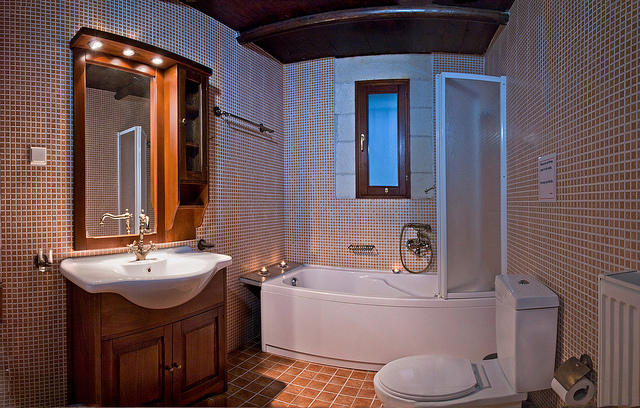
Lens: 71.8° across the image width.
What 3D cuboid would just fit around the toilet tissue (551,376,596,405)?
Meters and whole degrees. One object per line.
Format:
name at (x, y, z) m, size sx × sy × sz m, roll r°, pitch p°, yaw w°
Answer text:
toilet tissue at (1.652, 1.191, 2.919) m, size 0.184 × 0.194 × 0.232 m, roll -4°, pitch -3°, yaw 4°

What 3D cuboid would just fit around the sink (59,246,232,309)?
sink at (-1.345, 0.471, 3.587) m, size 1.224 × 0.382 × 0.946 m, roll 12°, pitch 1°, yaw -7°

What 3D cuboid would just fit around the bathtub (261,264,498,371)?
bathtub at (0.598, 1.067, 4.346) m, size 2.103 × 0.698 × 0.998 m, roll -2°, pitch 1°, yaw 22°

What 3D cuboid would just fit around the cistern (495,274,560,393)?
cistern at (1.479, 0.914, 3.175) m, size 0.405 × 0.751 × 0.352 m, roll -3°, pitch 1°, yaw 7°
